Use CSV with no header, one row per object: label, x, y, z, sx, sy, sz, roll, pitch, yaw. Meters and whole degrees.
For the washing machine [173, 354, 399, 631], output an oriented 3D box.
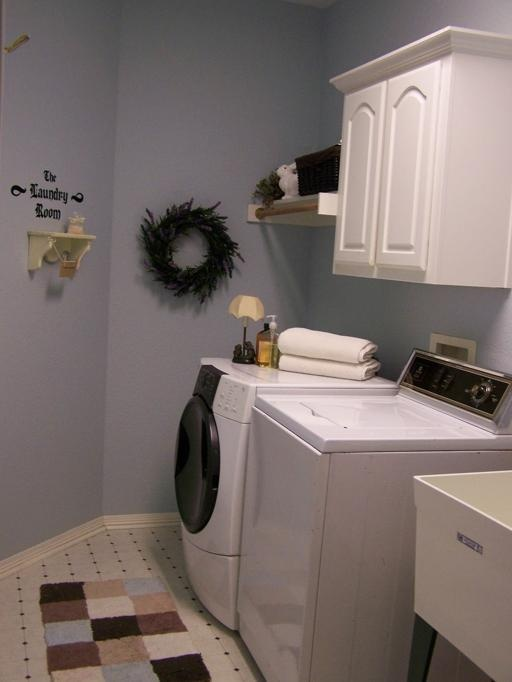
washing machine,-0.020,0.521,2.349,0.897,1.156,0.819,1,5,-12
